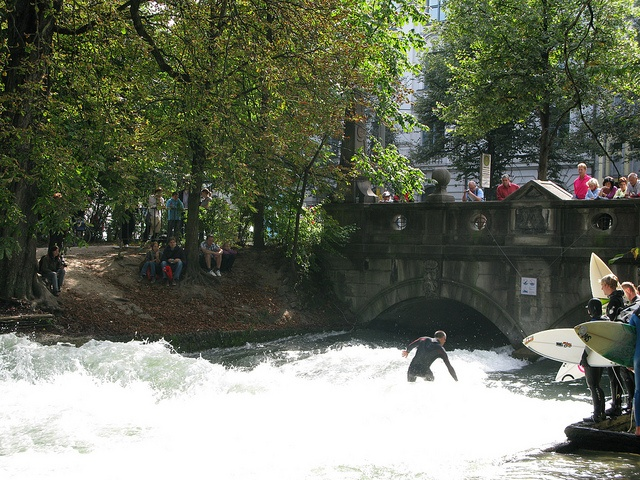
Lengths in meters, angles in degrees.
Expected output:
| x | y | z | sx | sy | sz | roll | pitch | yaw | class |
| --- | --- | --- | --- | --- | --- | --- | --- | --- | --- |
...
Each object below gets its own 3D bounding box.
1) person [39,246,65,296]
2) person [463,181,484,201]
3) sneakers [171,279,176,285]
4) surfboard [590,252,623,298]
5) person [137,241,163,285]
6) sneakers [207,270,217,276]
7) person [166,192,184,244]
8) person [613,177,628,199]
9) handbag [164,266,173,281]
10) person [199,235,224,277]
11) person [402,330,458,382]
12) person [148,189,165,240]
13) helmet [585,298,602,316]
| x | y | z | sx | sy | sz | roll | pitch | yaw | class |
| --- | --- | --- | --- | --- | --- | --- | --- | --- | --- |
| -7.180 | 0.802 | 32.597 | 0.628 | 1.287 | 0.730 | 5 | 7 | 10 | person |
| 4.616 | -1.477 | 36.482 | 0.574 | 0.613 | 1.770 | 5 | 6 | 7 | person |
| -4.187 | 1.235 | 35.098 | 0.131 | 0.161 | 0.228 | 4 | 6 | -6 | sneakers |
| 6.854 | 0.856 | 28.950 | 0.311 | 1.033 | 1.001 | -29 | 35 | 19 | surfboard |
| -4.911 | 0.631 | 35.065 | 0.558 | 1.192 | 0.813 | 4 | 7 | -5 | person |
| -3.208 | 1.013 | 36.292 | 0.288 | 0.169 | 0.503 | 3 | 6 | -6 | sneakers |
| -4.378 | -0.712 | 36.684 | 0.437 | 1.467 | 0.748 | 9 | 8 | 31 | person |
| 8.315 | -1.456 | 33.482 | 0.347 | 0.600 | 1.556 | 6 | 6 | 13 | person |
| -4.380 | 0.973 | 35.062 | 0.288 | 0.408 | 0.164 | 3 | 7 | -14 | handbag |
| -3.200 | 0.483 | 36.512 | 0.735 | 1.215 | 0.823 | 1 | 7 | -24 | person |
| 2.771 | 2.938 | 30.092 | 1.257 | 1.304 | 0.970 | 6 | 7 | 18 | person |
| -5.006 | -0.821 | 37.156 | 0.442 | 1.551 | 1.373 | 3 | 7 | -8 | person |
| 6.064 | 1.471 | 26.801 | 0.298 | 0.372 | 0.369 | 2 | 20 | 4 | helmet |
